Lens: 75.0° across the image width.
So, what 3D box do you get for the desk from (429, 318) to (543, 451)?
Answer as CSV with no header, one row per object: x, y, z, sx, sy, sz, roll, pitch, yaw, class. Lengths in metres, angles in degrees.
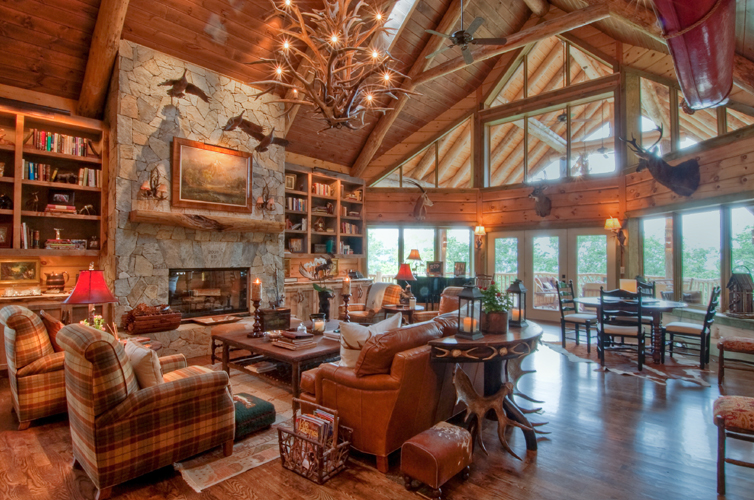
1.472,1.393,5.563,1.210,0.759,0.595,-6,-2,-38,desk

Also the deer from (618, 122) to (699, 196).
4.806,-1.408,8.319,0.981,1.236,0.830,-14,4,16,deer

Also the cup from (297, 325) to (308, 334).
-1.019,1.089,6.744,0.102,0.103,0.099,-1,2,0,cup

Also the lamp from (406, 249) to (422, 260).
0.736,0.115,9.792,0.287,0.253,0.247,0,-3,2,lamp

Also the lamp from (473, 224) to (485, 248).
2.443,-0.304,11.606,0.276,0.572,0.193,-2,-3,11,lamp

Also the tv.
-3.256,0.616,8.977,0.900,0.883,1.669,24,17,40,tv

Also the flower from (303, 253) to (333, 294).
-1.259,0.521,10.362,0.851,0.846,0.720,-6,-7,4,flower

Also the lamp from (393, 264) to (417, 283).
0.488,0.416,8.664,0.346,0.224,0.332,0,-3,2,lamp

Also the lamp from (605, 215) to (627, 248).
4.706,-0.354,9.829,0.310,0.559,0.342,2,-6,-42,lamp

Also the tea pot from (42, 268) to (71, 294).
-4.958,0.484,7.654,0.320,0.402,0.447,-5,-7,42,tea pot

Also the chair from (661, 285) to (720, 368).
4.895,1.222,7.723,0.732,1.076,0.776,0,0,-44,chair

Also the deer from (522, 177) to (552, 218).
3.577,-1.096,10.801,0.500,0.822,0.224,-3,-4,25,deer

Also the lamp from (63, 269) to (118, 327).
-3.536,0.560,6.091,0.540,0.699,0.556,4,13,-16,lamp

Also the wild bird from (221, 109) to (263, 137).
-2.211,-2.070,8.266,0.487,0.290,0.561,17,34,41,wild bird
